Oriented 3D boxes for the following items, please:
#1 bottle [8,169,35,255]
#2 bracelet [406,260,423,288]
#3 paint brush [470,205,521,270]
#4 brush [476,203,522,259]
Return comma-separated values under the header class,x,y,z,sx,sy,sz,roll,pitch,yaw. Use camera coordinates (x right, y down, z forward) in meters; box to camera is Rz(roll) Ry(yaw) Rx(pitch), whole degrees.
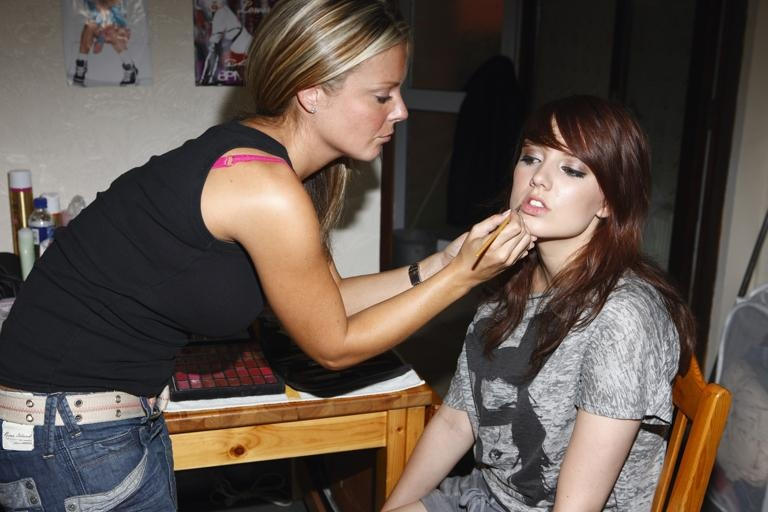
class,x,y,z,sx,sy,sz,roll,pitch,yaw
bottle,-1.172,-0.153,1.986,0.072,0.297,0.076,1,9,0
bracelet,0.084,0.053,1.741,0.040,0.066,0.057,-7,11,-24
paint brush,0.297,-0.077,1.465,0.027,0.041,0.351,-31,10,45
brush,0.249,-0.058,1.379,0.067,0.099,0.126,6,17,9
